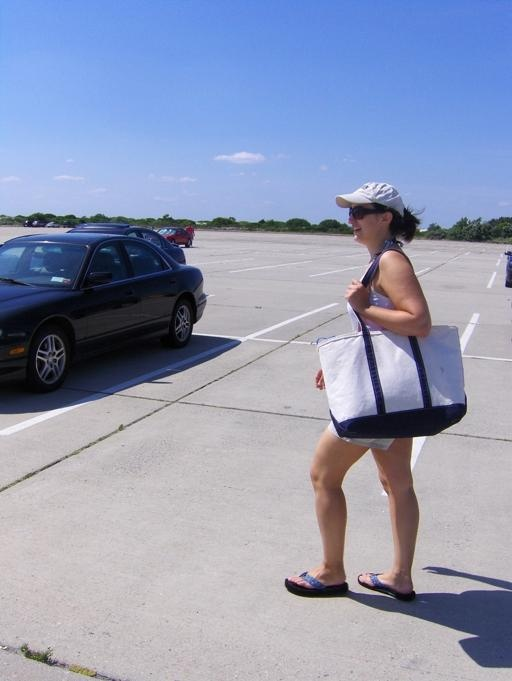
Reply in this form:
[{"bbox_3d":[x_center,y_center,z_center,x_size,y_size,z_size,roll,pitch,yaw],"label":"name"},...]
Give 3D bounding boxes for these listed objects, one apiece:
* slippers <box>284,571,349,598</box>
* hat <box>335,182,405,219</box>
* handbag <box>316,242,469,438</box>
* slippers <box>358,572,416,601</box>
[{"bbox_3d":[0.237,1.016,2.365,0.210,0.061,0.107,4,-6,7],"label":"slippers"},{"bbox_3d":[0.438,-0.548,2.214,0.261,0.119,0.113,3,8,8],"label":"hat"},{"bbox_3d":[0.481,0.123,2.043,0.506,0.434,0.233,2,8,-4],"label":"handbag"},{"bbox_3d":[0.532,1.003,2.399,0.231,0.053,0.089,14,-3,26],"label":"slippers"}]
